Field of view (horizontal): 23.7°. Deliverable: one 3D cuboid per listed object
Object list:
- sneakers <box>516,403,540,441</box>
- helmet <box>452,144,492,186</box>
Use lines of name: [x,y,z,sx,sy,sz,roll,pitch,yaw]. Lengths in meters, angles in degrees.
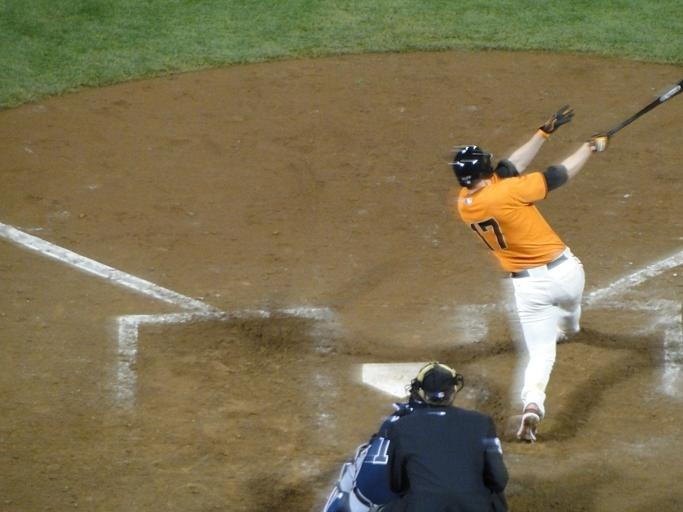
sneakers: [2.262,2.129,19.858,0.223,0.159,0.383,7,78,20]
helmet: [1.552,-1.109,19.857,0.448,0.573,0.447,-11,93,37]
